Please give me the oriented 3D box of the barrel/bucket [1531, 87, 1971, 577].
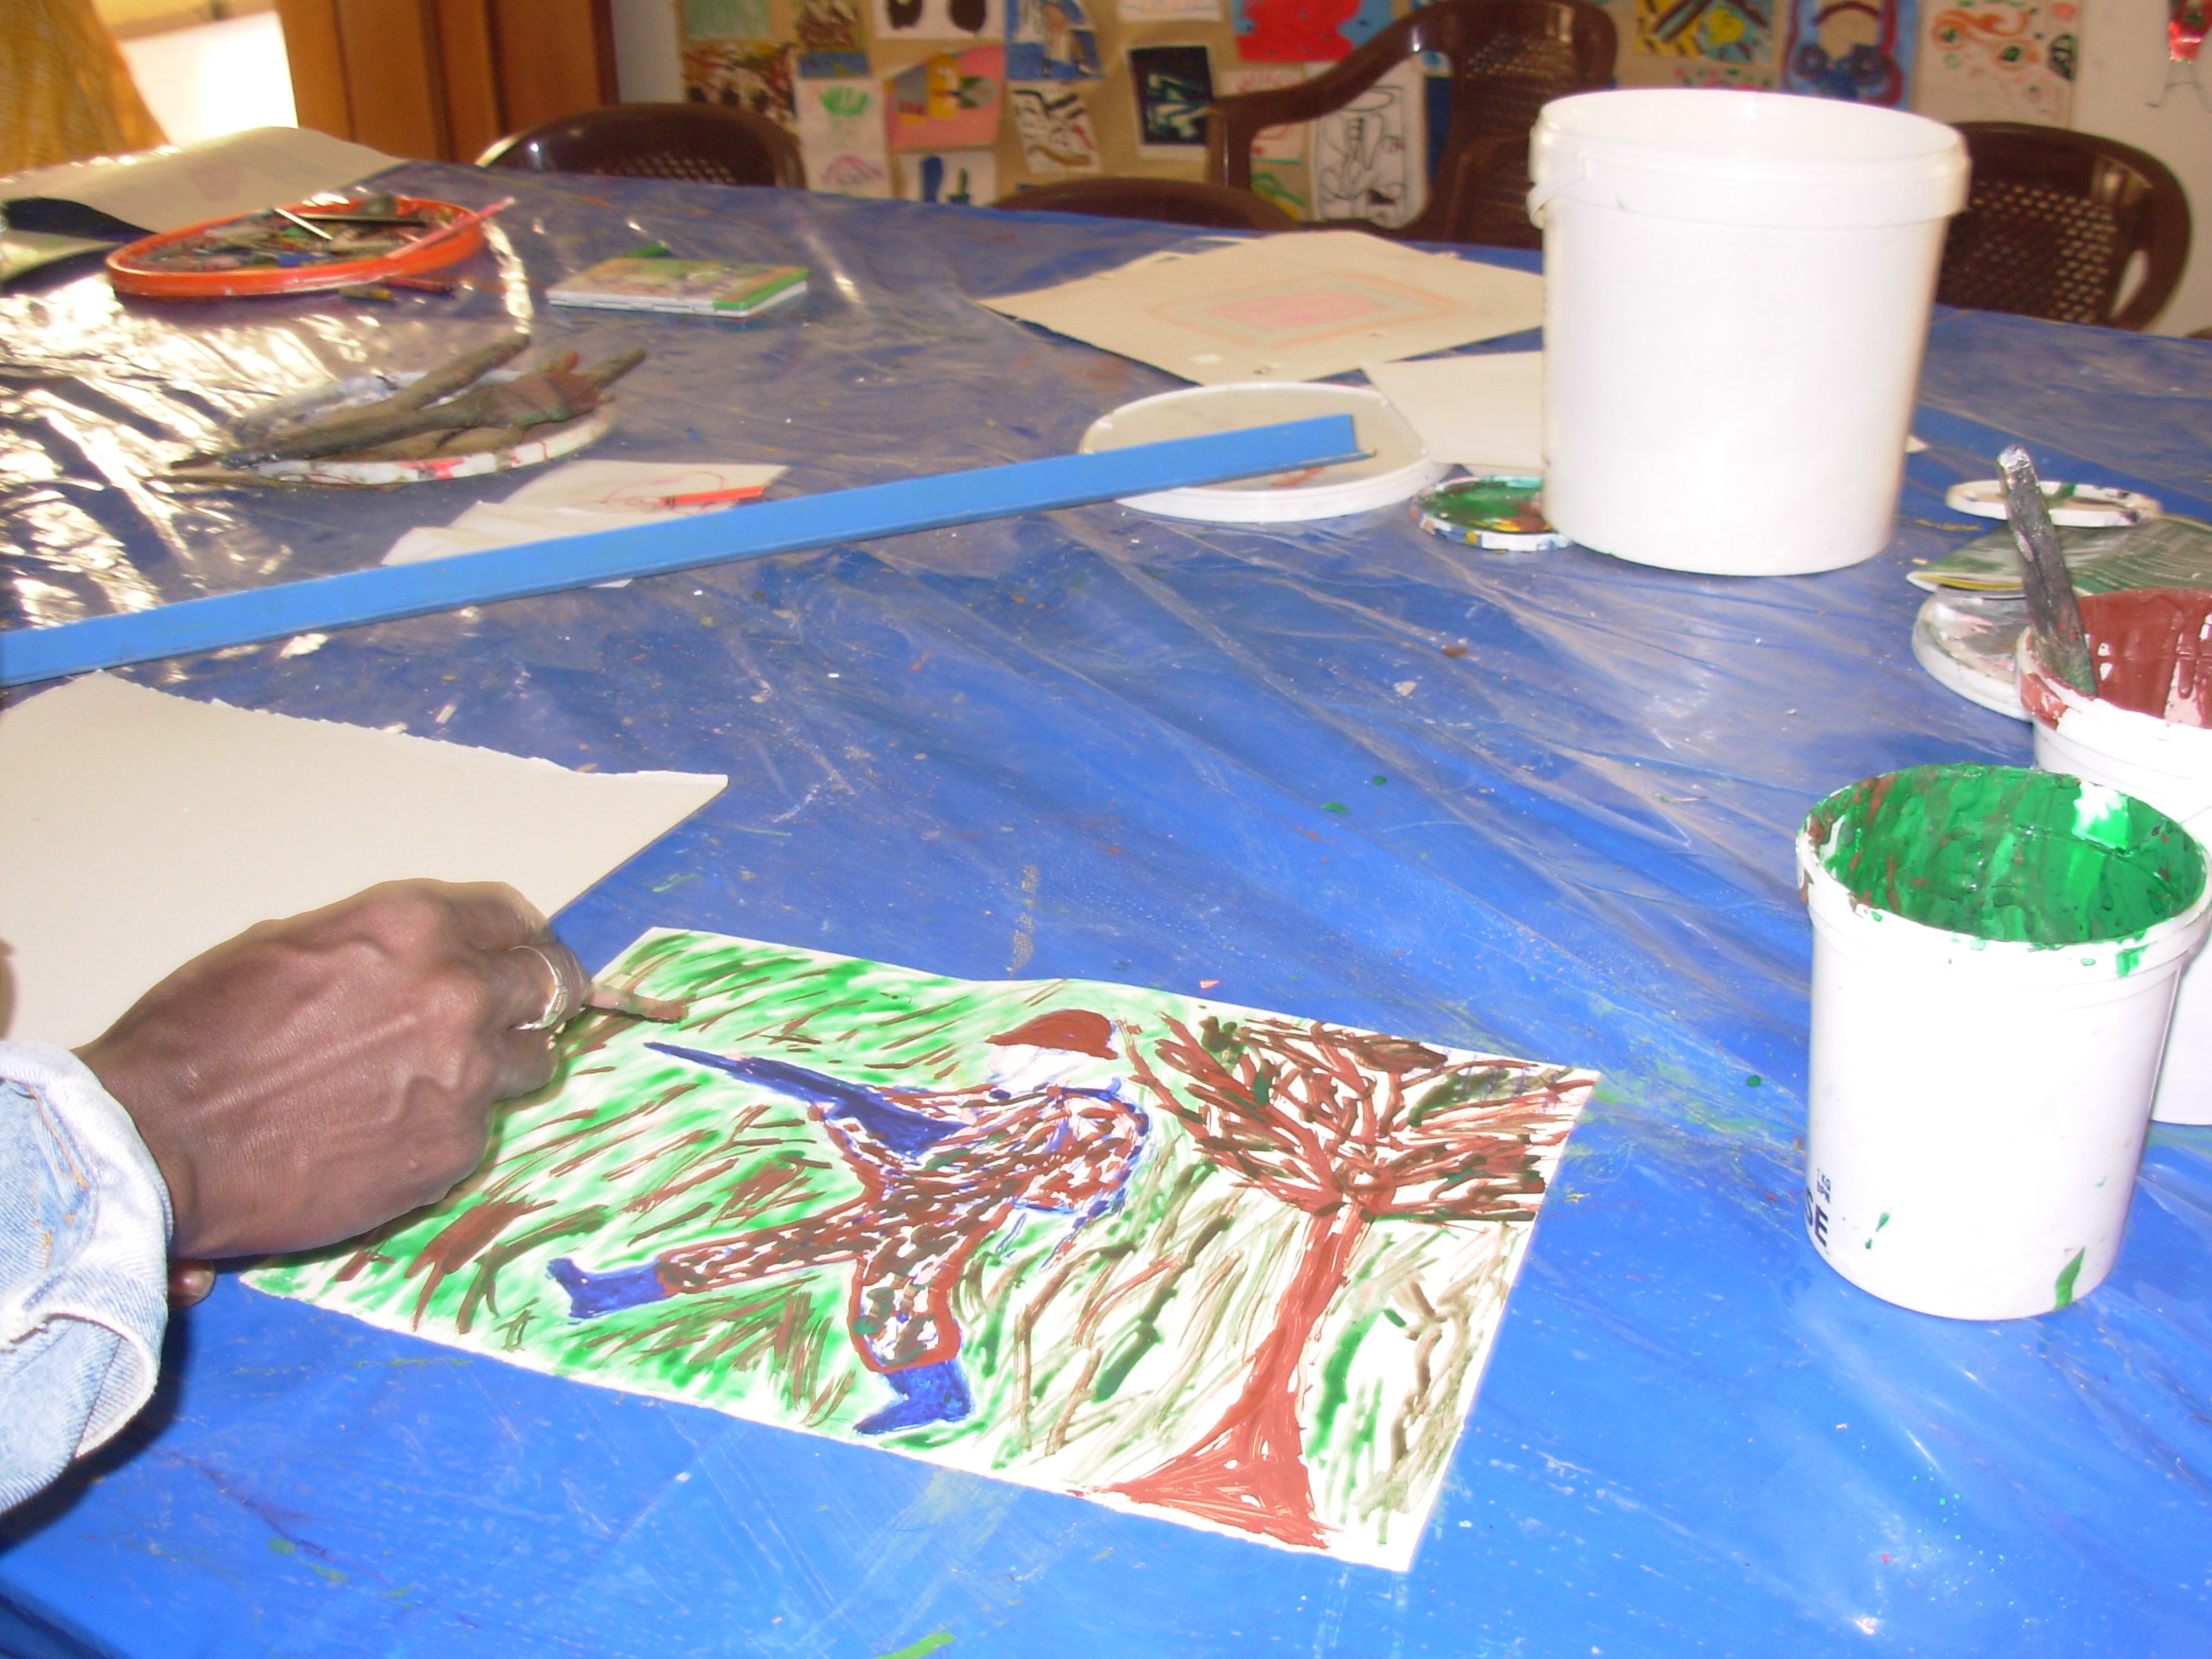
[{"bbox_3d":[0.341,-0.301,1.114,0.276,0.310,0.265,1,34,-1],"label":"barrel/bucket"}]
